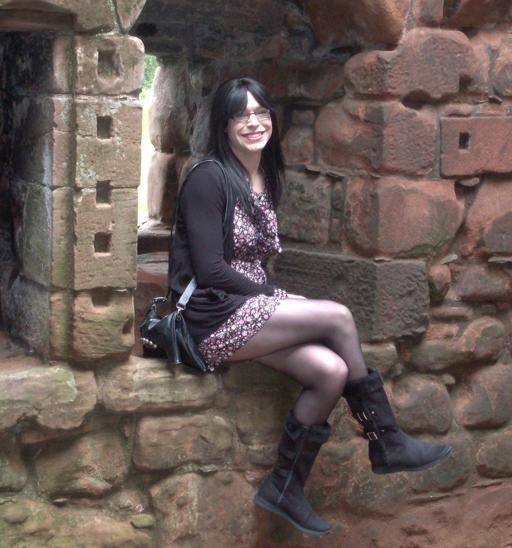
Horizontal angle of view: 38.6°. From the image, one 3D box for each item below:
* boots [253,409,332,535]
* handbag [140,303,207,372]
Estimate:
[{"bbox_3d":[0.149,0.627,2.311,0.248,0.326,0.139,21,10,23],"label":"boots"},{"bbox_3d":[-0.260,0.209,2.342,0.080,0.144,0.192,-13,18,-26],"label":"handbag"}]
